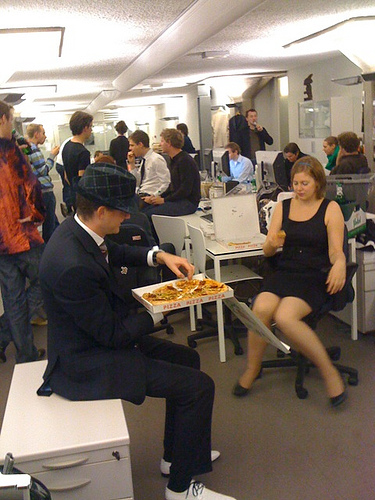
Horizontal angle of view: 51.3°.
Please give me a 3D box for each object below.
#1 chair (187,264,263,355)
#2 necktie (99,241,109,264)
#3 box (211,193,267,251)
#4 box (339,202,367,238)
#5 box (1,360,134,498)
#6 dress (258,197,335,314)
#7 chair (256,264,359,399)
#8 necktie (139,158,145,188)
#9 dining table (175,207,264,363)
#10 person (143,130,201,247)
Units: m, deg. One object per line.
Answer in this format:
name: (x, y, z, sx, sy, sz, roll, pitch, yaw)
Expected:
chair: (0.310, 0.498, 3.171, 0.653, 0.583, 0.657, -4, 29, -8)
necktie: (-0.313, 0.014, 1.455, 0.053, 0.069, 0.026, -3, 9, 7)
box: (0.385, -0.267, 3.241, 0.444, 0.448, 0.445, -4, 12, -8)
box: (1.269, -0.227, 2.938, 0.365, 0.257, 0.119, -13, 12, -40)
box: (-0.394, 0.487, 1.293, 0.317, 0.231, 0.517, -2, 5, -12)
dress: (0.731, 0.016, 2.549, 0.423, 0.656, 0.570, -2, 10, 23)
chair: (0.797, 0.464, 2.835, 0.768, 0.967, 0.831, 0, 1, -12)
necktie: (-0.595, -1.008, 5.154, 0.103, 0.384, 0.182, -7, 10, -5)
dining table: (0.307, 0.129, 3.269, 0.552, 0.667, 0.875, -8, 14, -13)
person: (-0.179, -0.670, 4.592, 0.799, 1.388, 0.595, -7, 18, -9)
